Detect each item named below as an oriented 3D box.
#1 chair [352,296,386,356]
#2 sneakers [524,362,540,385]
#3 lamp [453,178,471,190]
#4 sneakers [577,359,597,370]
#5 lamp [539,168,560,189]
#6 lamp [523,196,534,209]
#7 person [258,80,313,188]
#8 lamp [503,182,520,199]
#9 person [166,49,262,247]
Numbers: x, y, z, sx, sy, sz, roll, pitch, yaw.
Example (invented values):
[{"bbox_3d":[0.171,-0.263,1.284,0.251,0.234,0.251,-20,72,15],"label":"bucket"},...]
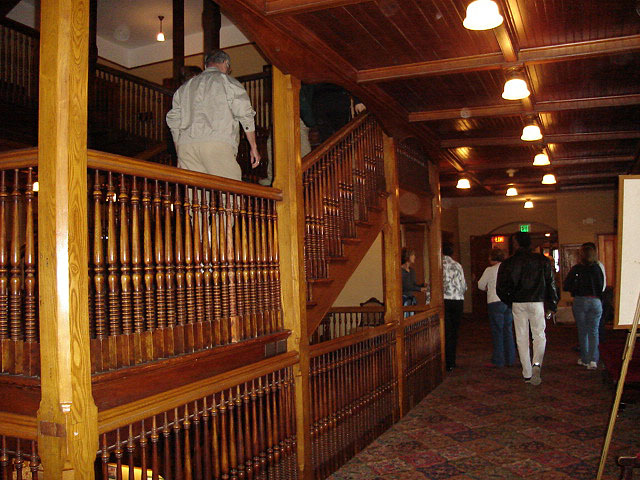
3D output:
[{"bbox_3d":[0.847,1.205,9.228,0.576,1.084,0.569,-3,-14,19],"label":"chair"},{"bbox_3d":[2.913,1.802,7.709,0.178,0.282,0.279,-1,-2,-4],"label":"sneakers"},{"bbox_3d":[3.028,-1.229,12.060,0.298,0.181,0.308,-3,-2,-2],"label":"lamp"},{"bbox_3d":[4.111,1.894,8.710,0.092,0.137,0.311,-5,9,-14],"label":"sneakers"},{"bbox_3d":[5.049,-1.388,12.461,0.338,0.231,0.366,-6,-2,14],"label":"lamp"},{"bbox_3d":[5.605,-1.049,15.233,0.303,0.280,0.256,0,-9,3],"label":"lamp"},{"bbox_3d":[-0.567,-1.504,7.948,0.759,1.274,0.830,-4,11,5],"label":"person"},{"bbox_3d":[4.703,-1.252,13.935,0.283,0.311,0.315,-3,-9,12],"label":"lamp"},{"bbox_3d":[-0.916,-0.763,4.934,0.733,1.904,0.542,-3,-6,1],"label":"person"}]
